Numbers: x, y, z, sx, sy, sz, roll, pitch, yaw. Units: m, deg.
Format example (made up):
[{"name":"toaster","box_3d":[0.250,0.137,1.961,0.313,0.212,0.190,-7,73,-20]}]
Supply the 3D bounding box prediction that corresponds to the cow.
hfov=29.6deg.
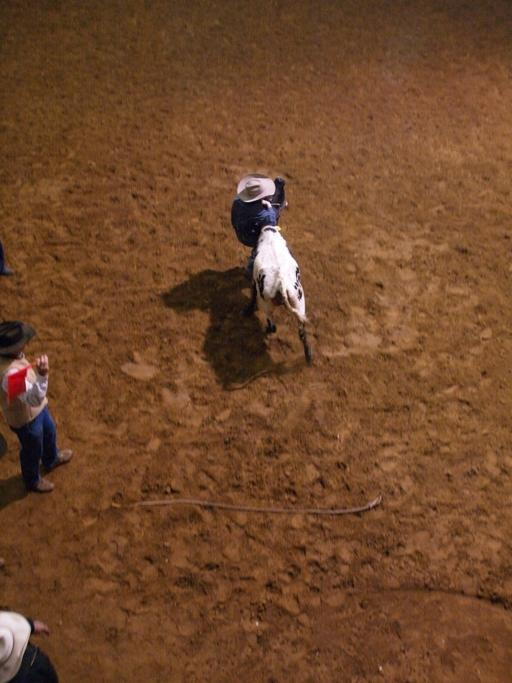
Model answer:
[{"name":"cow","box_3d":[0.218,-0.702,10.728,0.427,1.260,1.987,-8,58,-2]}]

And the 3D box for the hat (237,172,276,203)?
[{"name":"hat","box_3d":[-0.001,-1.643,10.341,0.302,0.129,0.357,-2,74,-1]}]

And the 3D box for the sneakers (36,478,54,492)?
[{"name":"sneakers","box_3d":[-2.203,1.505,10.124,0.165,0.208,0.116,-6,27,-9]}]

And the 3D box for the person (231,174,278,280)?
[{"name":"person","box_3d":[-0.043,-1.351,10.381,0.318,0.616,1.228,2,67,-12]}]

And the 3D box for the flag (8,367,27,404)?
[{"name":"flag","box_3d":[-2.259,0.392,9.184,0.181,0.274,0.194,0,35,-14]}]
